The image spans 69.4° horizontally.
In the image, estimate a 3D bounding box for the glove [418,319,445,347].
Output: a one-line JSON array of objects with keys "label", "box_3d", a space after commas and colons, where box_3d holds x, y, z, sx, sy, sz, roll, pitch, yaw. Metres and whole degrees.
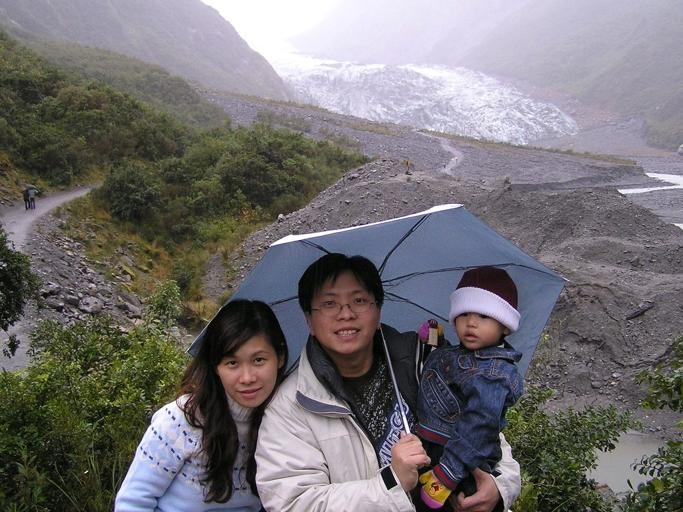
[{"label": "glove", "box_3d": [0.858, 0.733, 4.682, 0.171, 0.235, 0.134, 5, -46, -1]}]
